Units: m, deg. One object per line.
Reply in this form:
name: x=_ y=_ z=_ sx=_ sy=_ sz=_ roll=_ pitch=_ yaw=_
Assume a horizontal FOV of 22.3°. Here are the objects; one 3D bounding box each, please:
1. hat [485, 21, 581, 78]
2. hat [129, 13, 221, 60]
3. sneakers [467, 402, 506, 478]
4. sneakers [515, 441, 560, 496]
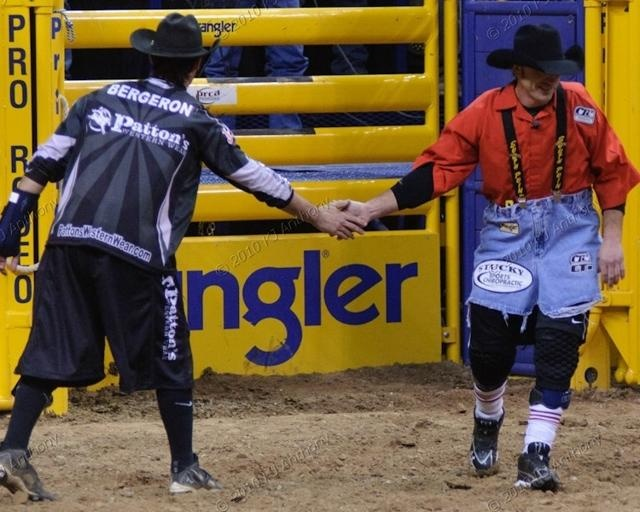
hat: x=1.133 y=-1.066 z=8.511 sx=0.356 sy=0.151 sz=0.371 roll=-3 pitch=5 yaw=-17
hat: x=-0.795 y=-1.211 z=8.913 sx=0.464 sy=0.171 sz=0.478 roll=3 pitch=11 yaw=-8
sneakers: x=0.904 y=1.003 z=8.772 sx=0.132 sy=0.339 sz=0.161 roll=3 pitch=-11 yaw=13
sneakers: x=1.122 y=1.089 z=8.382 sx=0.141 sy=0.152 sz=0.357 roll=-1 pitch=9 yaw=-2
